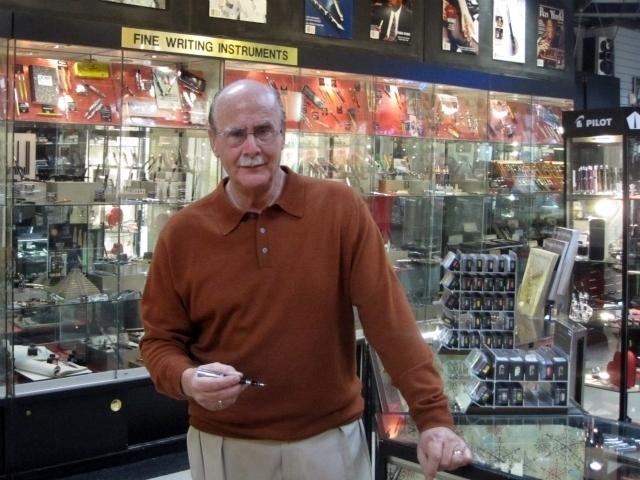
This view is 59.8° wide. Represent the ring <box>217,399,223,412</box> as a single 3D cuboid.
[{"bbox_3d":[-0.312,0.515,1.733,0.023,0.024,0.006,3,3,16],"label":"ring"}]
